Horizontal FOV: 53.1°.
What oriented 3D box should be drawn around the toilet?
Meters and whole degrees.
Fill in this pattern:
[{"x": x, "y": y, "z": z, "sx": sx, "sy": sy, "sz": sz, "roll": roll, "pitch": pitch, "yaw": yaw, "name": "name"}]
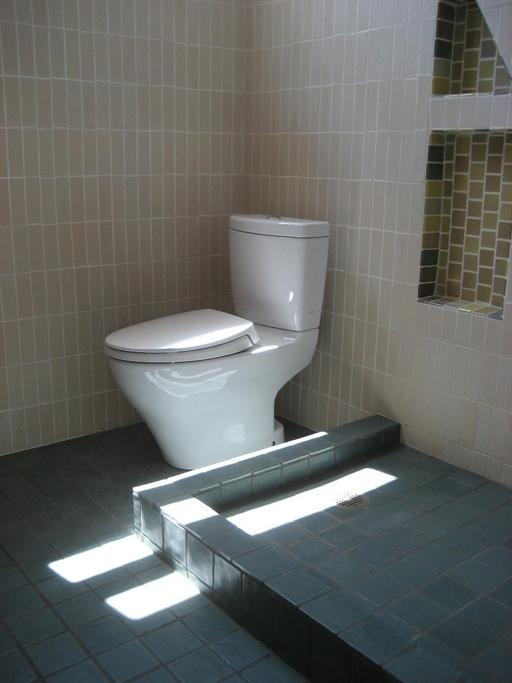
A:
[{"x": -0.133, "y": -0.006, "z": 1.787, "sx": 0.673, "sy": 0.870, "sz": 0.419, "roll": -7, "pitch": 14, "yaw": -36, "name": "toilet"}]
